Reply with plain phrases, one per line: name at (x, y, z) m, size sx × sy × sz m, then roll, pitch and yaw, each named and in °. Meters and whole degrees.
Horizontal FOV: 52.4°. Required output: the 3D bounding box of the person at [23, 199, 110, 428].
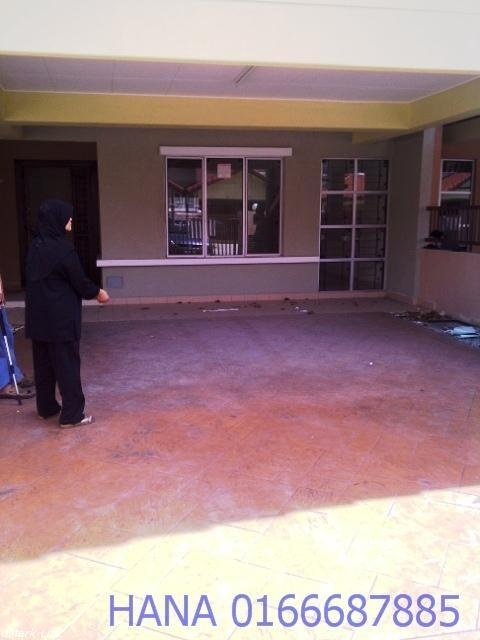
person at (-1.455, -0.028, 3.961) m, size 0.547 × 1.835 × 0.455 m, roll -3°, pitch 10°, yaw -24°
